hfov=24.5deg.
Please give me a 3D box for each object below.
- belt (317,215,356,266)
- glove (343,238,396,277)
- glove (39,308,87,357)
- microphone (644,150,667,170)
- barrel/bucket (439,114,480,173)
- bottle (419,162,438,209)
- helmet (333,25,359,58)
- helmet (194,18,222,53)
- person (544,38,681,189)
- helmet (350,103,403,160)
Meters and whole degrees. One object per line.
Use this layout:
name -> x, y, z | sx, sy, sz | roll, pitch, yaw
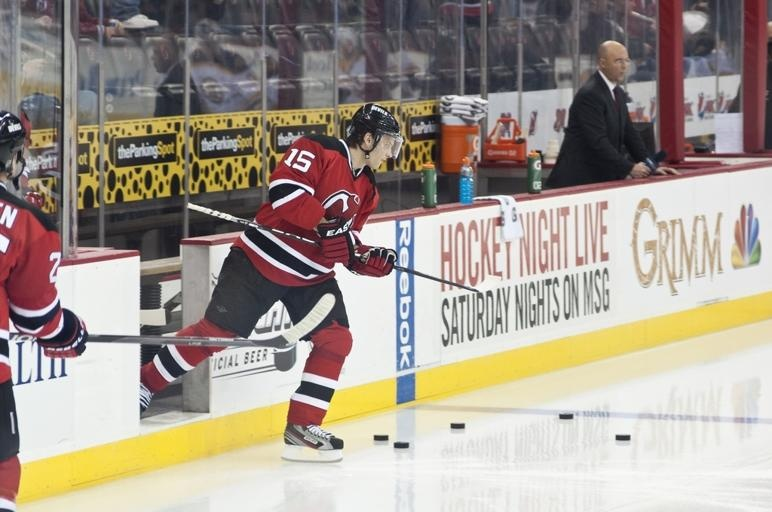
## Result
belt -> -0.308, -0.105, 10.888 | 0.259, 0.250, 0.084 | -14, -3, -40
glove -> -0.090, -0.012, 11.234 | 0.309, 0.179, 0.430 | 7, 7, -12
glove -> -1.769, 0.447, 9.755 | 0.302, 0.202, 0.269 | -4, -36, 27
microphone -> 2.050, -0.733, 13.561 | 0.148, 0.161, 0.344 | 0, 6, 8
barrel/bucket -> 0.683, -1.049, 16.436 | 0.392, 0.521, 0.378 | 1, 4, 0
bottle -> 0.288, -0.504, 12.367 | 0.100, 0.294, 0.286 | -1, 5, 1
helmet -> -0.343, -1.864, 15.334 | 0.199, 0.254, 0.266 | -1, -13, -2
helmet -> -1.433, -1.770, 14.119 | 0.080, 0.249, 0.278 | 1, 6, 28
person -> 1.657, -1.079, 13.565 | 0.869, 1.105, 0.480 | -1, 5, 5
helmet -> -0.085, -0.799, 11.022 | 0.300, 0.268, 0.258 | 18, 3, 0
